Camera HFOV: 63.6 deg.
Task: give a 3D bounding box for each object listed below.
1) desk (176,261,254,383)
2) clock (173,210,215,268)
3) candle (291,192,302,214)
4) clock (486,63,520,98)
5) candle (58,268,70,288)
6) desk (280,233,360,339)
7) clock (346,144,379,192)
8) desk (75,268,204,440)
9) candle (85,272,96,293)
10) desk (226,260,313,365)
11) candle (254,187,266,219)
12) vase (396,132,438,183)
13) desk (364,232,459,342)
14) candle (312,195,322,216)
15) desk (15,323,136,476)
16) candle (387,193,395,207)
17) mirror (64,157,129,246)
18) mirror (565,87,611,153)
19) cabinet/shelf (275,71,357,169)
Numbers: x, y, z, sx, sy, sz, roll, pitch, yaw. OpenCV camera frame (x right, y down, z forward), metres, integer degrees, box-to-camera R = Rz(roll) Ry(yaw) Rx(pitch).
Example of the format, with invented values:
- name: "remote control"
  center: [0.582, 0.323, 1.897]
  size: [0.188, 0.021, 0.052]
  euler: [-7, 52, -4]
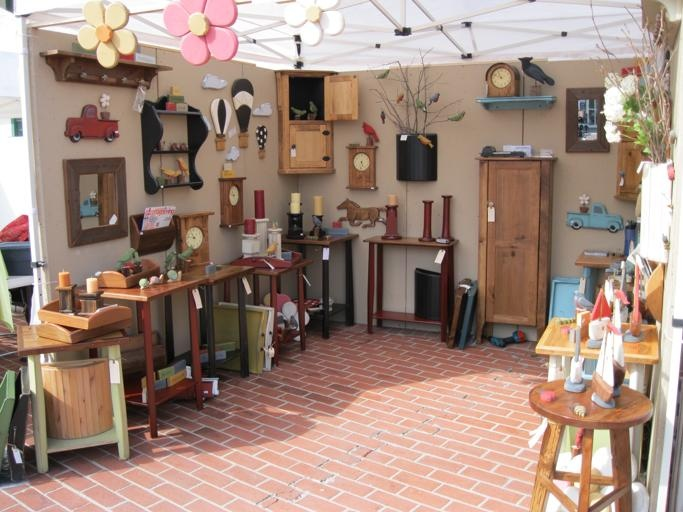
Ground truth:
- name: "desk"
  center: [-1.309, 0.635, 6.198]
  size: [0.753, 0.865, 0.744]
  euler: [-10, -10, 5]
- name: "clock"
  center: [-1.694, -0.186, 6.209]
  size: [0.236, 0.745, 0.609]
  euler: [1, 6, 22]
- name: "candle"
  center: [-0.633, -0.709, 7.537]
  size: [0.122, 0.257, 0.108]
  euler: [-4, 12, -17]
- name: "clock"
  center: [2.021, -2.198, 6.907]
  size: [0.352, 0.425, 0.161]
  euler: [5, 20, 25]
- name: "candle"
  center: [-2.345, 0.189, 4.687]
  size: [0.136, 0.158, 0.138]
  euler: [1, 11, -15]
- name: "desk"
  center: [-0.188, 0.371, 7.960]
  size: [0.870, 1.045, 0.938]
  euler: [5, -5, 2]
- name: "clock"
  center: [0.291, -1.270, 7.876]
  size: [0.414, 0.606, 0.219]
  euler: [0, 19, 3]
- name: "desk"
  center: [-2.132, 0.834, 5.912]
  size: [1.226, 2.060, 1.231]
  euler: [7, 12, 35]
- name: "candle"
  center: [-2.154, 0.235, 4.753]
  size: [0.130, 0.150, 0.131]
  euler: [0, 9, -22]
- name: "desk"
  center: [-1.067, 0.562, 6.854]
  size: [0.717, 0.788, 0.688]
  euler: [-12, -5, 31]
- name: "candle"
  center: [-1.052, -0.658, 7.060]
  size: [0.119, 0.357, 0.175]
  euler: [-3, 12, -16]
- name: "vase"
  center: [1.055, -1.355, 7.715]
  size: [0.754, 0.620, 0.765]
  euler: [1, 6, -8]
- name: "desk"
  center: [1.019, 0.416, 7.639]
  size: [1.321, 1.530, 0.718]
  euler: [3, 5, 20]
- name: "candle"
  center: [-0.325, -0.684, 7.623]
  size: [0.098, 0.254, 0.125]
  euler: [-3, 11, -13]
- name: "desk"
  center: [-2.377, 1.211, 5.082]
  size: [1.062, 1.575, 1.092]
  euler: [-2, 2, -13]
- name: "candle"
  center: [0.690, -0.771, 7.556]
  size: [0.121, 0.143, 0.123]
  euler: [0, 1, -6]
- name: "mirror"
  center: [-2.380, -0.527, 5.256]
  size: [0.061, 0.910, 0.763]
  euler: [5, 10, 33]
- name: "mirror"
  center: [3.075, -1.678, 6.838]
  size: [0.526, 0.816, 0.047]
  euler: [2, -4, 9]
- name: "cabinet/shelf"
  center: [-0.377, -1.915, 7.717]
  size: [1.180, 1.470, 0.764]
  euler: [-2, 8, -16]
